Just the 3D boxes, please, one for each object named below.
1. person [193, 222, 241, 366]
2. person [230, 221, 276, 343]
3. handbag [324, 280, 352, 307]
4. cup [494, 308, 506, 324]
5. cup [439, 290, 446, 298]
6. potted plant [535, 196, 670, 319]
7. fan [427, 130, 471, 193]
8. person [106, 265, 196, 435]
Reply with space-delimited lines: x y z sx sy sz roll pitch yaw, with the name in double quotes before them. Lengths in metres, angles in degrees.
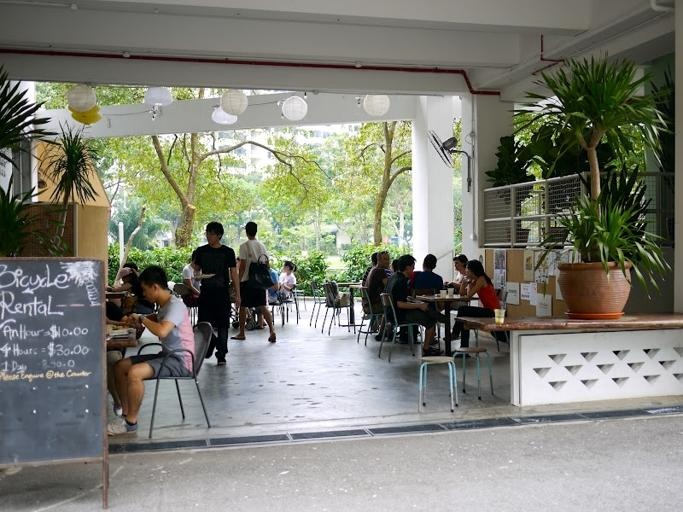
"person" -1.781 0.451 7.576 0.612 1.799 0.760 7 20 10
"person" -1.585 0.478 9.856 0.679 2.177 0.790 2 -2 -21
"handbag" -0.068 0.767 10.830 0.526 0.542 0.401 -1 4 -24
"cup" 1.603 0.607 5.397 0.128 0.184 0.122 1 -8 0
"cup" 1.461 0.548 7.760 0.088 0.106 0.083 0 -6 0
"potted plant" 2.788 0.019 5.583 1.314 1.265 0.828 -1 1 -44
"fan" 2.311 -1.882 11.308 0.883 1.243 0.868 3 -2 16
"person" -1.683 0.821 4.822 0.766 1.428 0.597 1 -5 -30
